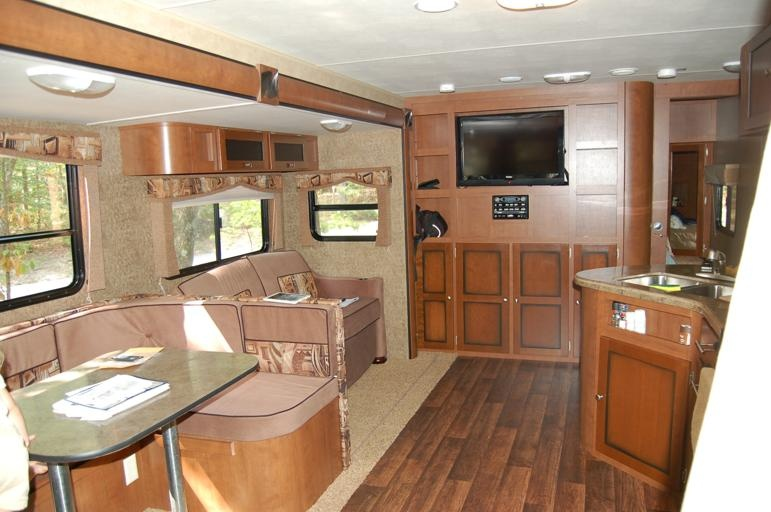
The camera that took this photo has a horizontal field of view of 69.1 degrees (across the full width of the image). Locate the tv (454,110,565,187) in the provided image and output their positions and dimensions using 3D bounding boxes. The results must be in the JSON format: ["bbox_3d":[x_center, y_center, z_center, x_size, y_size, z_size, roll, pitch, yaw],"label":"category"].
[{"bbox_3d":[1.375,-1.179,6.027,1.014,0.590,0.100,1,9,18],"label":"tv"}]

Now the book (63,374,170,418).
[{"bbox_3d":[-1.554,0.802,3.158,0.501,0.087,0.431,3,10,28],"label":"book"}]

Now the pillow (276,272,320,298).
[{"bbox_3d":[-0.973,0.321,6.288,0.478,0.277,0.093,3,-23,-39],"label":"pillow"}]

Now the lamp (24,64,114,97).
[{"bbox_3d":[-1.747,-0.973,3.143,0.434,0.111,0.540,-7,10,-28],"label":"lamp"}]

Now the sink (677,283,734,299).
[{"bbox_3d":[2.301,0.271,4.040,0.348,0.091,0.236,0,9,15],"label":"sink"}]

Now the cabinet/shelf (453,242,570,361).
[{"bbox_3d":[1.444,0.467,6.216,1.587,1.230,0.517,0,1,16],"label":"cabinet/shelf"}]

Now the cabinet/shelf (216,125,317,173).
[{"bbox_3d":[-1.177,-1.081,5.812,0.318,0.417,1.568,0,9,17],"label":"cabinet/shelf"}]

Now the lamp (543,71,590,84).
[{"bbox_3d":[1.755,-1.686,5.427,0.416,0.097,0.071,3,56,23],"label":"lamp"}]
